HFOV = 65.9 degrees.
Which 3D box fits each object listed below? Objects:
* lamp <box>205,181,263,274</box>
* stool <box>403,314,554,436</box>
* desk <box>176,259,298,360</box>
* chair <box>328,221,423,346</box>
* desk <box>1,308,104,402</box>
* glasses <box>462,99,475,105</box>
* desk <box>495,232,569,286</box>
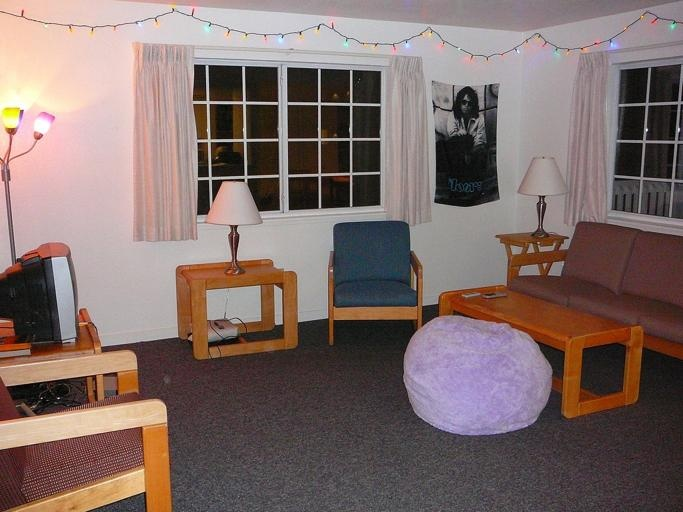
[{"bbox_3d":[-0.950,-0.241,4.693,0.497,0.839,0.496,-3,16,-23],"label":"lamp"},{"bbox_3d":[0.945,0.740,3.666,1.024,0.611,1.060,-4,6,-24],"label":"stool"},{"bbox_3d":[-0.947,0.461,4.810,1.042,0.716,0.868,-5,9,-36],"label":"desk"},{"bbox_3d":[0.304,0.232,4.903,0.877,0.989,0.993,0,11,4],"label":"chair"},{"bbox_3d":[-1.577,0.608,3.014,0.520,0.342,0.448,-5,17,-24],"label":"desk"},{"bbox_3d":[1.361,-1.647,5.660,0.097,0.068,0.023,1,2,-10],"label":"glasses"},{"bbox_3d":[1.866,-0.071,5.360,0.568,0.622,0.625,-6,12,-25],"label":"desk"}]
